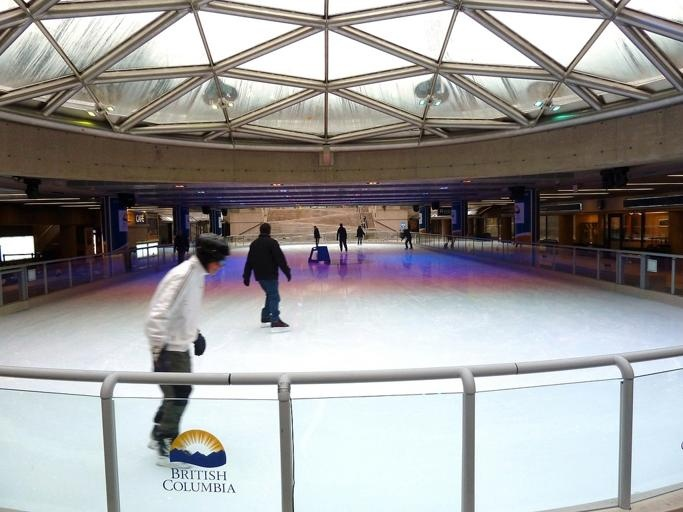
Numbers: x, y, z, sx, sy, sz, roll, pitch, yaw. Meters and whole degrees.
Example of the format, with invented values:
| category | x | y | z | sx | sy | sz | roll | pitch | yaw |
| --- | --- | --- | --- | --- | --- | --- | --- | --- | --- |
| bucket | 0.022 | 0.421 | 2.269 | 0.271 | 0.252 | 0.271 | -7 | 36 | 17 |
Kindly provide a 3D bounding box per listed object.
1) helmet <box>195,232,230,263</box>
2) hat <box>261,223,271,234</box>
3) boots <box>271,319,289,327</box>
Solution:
| category | x | y | z | sx | sy | sz | roll | pitch | yaw |
| --- | --- | --- | --- | --- | --- | --- | --- | --- | --- |
| helmet | -1.448 | -0.101 | 5.204 | 0.374 | 0.347 | 0.287 | -12 | 12 | -29 |
| hat | -1.613 | -0.567 | 9.661 | 0.215 | 0.259 | 0.261 | 5 | 26 | -3 |
| boots | -1.420 | 1.521 | 10.300 | 0.453 | 0.175 | 0.152 | 0 | -1 | 1 |
